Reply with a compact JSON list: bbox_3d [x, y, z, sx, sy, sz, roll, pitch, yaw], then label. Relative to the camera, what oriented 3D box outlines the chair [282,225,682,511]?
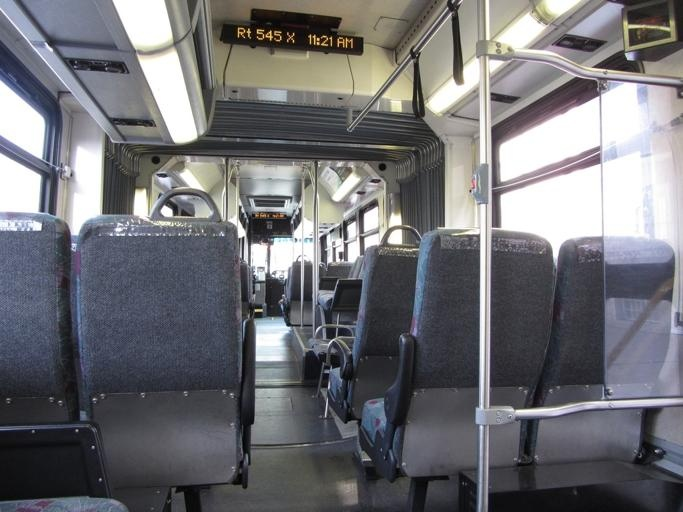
[{"bbox_3d":[0.607,0.501,2.915,1.052,1.694,1.290,2,2,-6],"label":"chair"}]
